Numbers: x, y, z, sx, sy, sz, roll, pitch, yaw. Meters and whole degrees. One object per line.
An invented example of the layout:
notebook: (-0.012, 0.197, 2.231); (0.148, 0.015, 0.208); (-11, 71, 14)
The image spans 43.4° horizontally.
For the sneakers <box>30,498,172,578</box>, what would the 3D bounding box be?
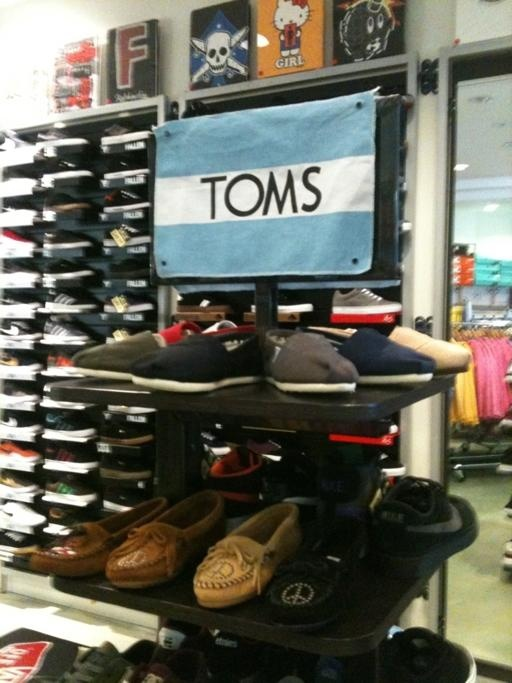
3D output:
sneakers: (-0.287, 0.373, 1.395); (0.132, 0.092, 0.366); (4, 9, 38)

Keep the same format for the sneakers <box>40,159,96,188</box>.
sneakers: (-0.919, -0.810, 3.114); (0.203, 0.058, 0.117); (2, 9, 20)

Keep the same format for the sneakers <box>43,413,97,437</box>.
sneakers: (-0.881, 0.404, 3.090); (0.262, 0.094, 0.106); (-1, -5, 23)

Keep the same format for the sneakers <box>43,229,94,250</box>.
sneakers: (-0.929, -0.496, 3.137); (0.278, 0.091, 0.087); (-1, 2, 6)

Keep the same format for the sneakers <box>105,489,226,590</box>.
sneakers: (-0.171, 0.402, 1.304); (0.138, 0.093, 0.345); (0, 4, 28)

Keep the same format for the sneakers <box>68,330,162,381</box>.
sneakers: (-0.260, 0.027, 1.192); (0.220, 0.079, 0.073); (1, 12, -18)

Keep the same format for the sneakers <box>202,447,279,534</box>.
sneakers: (-0.025, 0.347, 1.702); (0.116, 0.117, 0.350); (6, 6, 21)

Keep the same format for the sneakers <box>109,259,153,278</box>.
sneakers: (-0.577, -0.330, 2.950); (0.256, 0.087, 0.081); (-2, 0, 20)

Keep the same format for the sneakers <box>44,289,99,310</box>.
sneakers: (-0.894, -0.206, 3.140); (0.299, 0.096, 0.101); (0, 7, 4)

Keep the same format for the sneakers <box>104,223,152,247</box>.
sneakers: (-0.600, -0.485, 2.946); (0.286, 0.106, 0.079); (0, 9, 35)

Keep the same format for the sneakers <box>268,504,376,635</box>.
sneakers: (0.107, 0.419, 1.204); (0.152, 0.081, 0.369); (4, 7, 15)

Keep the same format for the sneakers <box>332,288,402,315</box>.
sneakers: (0.402, -0.149, 2.364); (0.274, 0.091, 0.094); (0, -1, 11)

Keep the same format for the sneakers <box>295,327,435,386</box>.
sneakers: (0.205, 0.020, 1.196); (0.111, 0.097, 0.298); (-7, 9, -37)

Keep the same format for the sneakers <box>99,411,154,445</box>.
sneakers: (-0.575, 0.390, 2.874); (0.250, 0.076, 0.129); (0, 9, 13)

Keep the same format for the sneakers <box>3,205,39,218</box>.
sneakers: (-1.199, -0.659, 3.261); (0.215, 0.070, 0.065); (2, 12, 9)

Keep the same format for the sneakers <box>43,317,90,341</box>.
sneakers: (-0.929, -0.059, 3.103); (0.288, 0.097, 0.091); (4, -4, 14)

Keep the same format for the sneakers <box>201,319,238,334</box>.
sneakers: (-0.089, -0.033, 1.665); (0.124, 0.044, 0.041); (-2, 13, -2)

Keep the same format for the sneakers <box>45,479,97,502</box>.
sneakers: (-0.884, 0.704, 3.076); (0.267, 0.090, 0.100); (1, -5, 20)

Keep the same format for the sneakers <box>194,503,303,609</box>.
sneakers: (-0.004, 0.399, 1.235); (0.125, 0.076, 0.328); (7, 14, 31)

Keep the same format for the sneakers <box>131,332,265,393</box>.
sneakers: (-0.097, 0.041, 1.134); (0.100, 0.093, 0.235); (1, 8, 41)

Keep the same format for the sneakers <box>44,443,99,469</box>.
sneakers: (-0.903, 0.554, 3.098); (0.273, 0.096, 0.099); (1, -4, 11)

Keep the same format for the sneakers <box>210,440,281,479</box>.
sneakers: (-0.011, 0.337, 1.802); (0.249, 0.090, 0.080); (-3, 16, -34)

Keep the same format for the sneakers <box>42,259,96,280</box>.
sneakers: (-0.919, -0.351, 3.138); (0.282, 0.091, 0.096); (-1, 1, 11)

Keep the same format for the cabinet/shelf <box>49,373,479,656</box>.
cabinet/shelf: (0.023, 0.264, 1.327); (0.733, 0.465, 0.625); (-1, 7, 28)

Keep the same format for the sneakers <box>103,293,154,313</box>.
sneakers: (-0.583, -0.177, 2.946); (0.272, 0.090, 0.083); (-2, 1, 11)

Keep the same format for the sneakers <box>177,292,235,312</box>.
sneakers: (-0.221, -0.172, 2.783); (0.300, 0.078, 0.202); (2, 9, 44)

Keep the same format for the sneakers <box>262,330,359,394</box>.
sneakers: (0.086, 0.037, 1.084); (0.079, 0.059, 0.184); (-2, 3, -20)

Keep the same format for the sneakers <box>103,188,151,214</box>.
sneakers: (-0.610, -0.642, 2.940); (0.138, 0.058, 0.179); (2, 4, 10)

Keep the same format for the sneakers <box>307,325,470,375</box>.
sneakers: (0.276, 0.023, 1.334); (0.354, 0.109, 0.116); (7, -17, 22)
